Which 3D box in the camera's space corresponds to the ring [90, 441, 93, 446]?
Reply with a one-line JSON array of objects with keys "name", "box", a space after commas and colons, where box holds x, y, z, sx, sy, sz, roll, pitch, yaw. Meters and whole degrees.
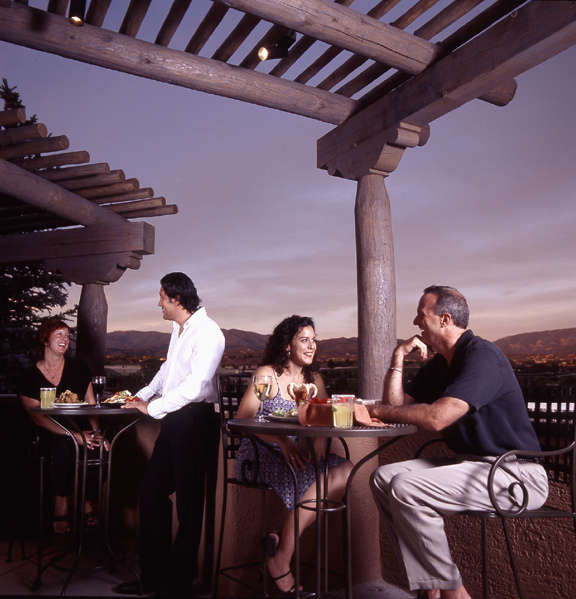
[{"name": "ring", "box": [-1.171, 0.855, 2.958, 0.021, 0.014, 0.028, 6, 26, -7]}]

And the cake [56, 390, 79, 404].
[{"name": "cake", "box": [-1.280, 0.557, 2.872, 0.152, 0.063, 0.200, 2, -6, -16]}]

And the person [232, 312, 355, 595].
[{"name": "person", "box": [0.018, 0.753, 2.220, 0.543, 1.368, 0.952, 2, -3, 0]}]

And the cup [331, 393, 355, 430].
[{"name": "cup", "box": [0.179, 0.359, 1.602, 0.076, 0.101, 0.057, 3, -3, -15]}]

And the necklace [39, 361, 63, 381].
[{"name": "necklace", "box": [-1.546, 0.475, 3.257, 0.122, 0.112, 0.132, 2, 23, 25]}]

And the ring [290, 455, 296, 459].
[{"name": "ring", "box": [0.021, 0.691, 2.187, 0.011, 0.011, 0.039, -11, 4, 25]}]
